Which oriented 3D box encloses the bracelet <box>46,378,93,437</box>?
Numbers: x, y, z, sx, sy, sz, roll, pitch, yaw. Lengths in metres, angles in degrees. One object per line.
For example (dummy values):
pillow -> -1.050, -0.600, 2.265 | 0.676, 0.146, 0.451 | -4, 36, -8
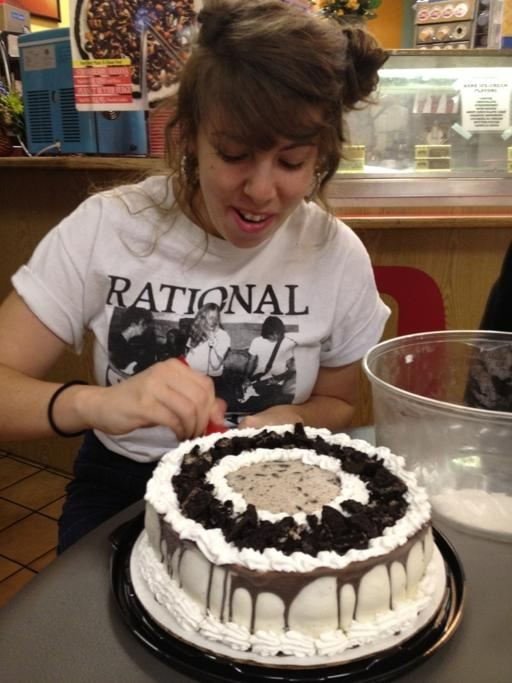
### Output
bracelet -> -0.383, 0.129, 1.113 | 0.025, 0.097, 0.107 | 12, -2, 38
